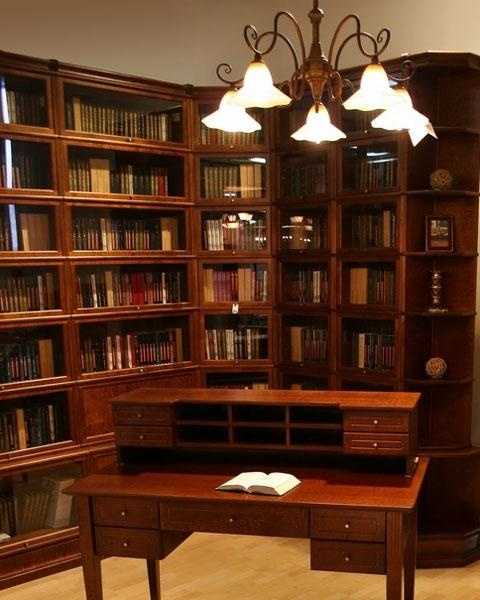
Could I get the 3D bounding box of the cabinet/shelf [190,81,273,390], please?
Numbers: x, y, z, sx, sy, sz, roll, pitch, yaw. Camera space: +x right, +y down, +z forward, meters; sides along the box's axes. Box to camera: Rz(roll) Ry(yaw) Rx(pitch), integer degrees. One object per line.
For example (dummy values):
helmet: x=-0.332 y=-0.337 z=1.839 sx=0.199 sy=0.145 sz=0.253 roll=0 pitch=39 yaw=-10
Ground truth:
cabinet/shelf: x=-0.047 y=-0.273 z=3.800 sx=0.549 sy=2.142 sz=0.303 roll=-1 pitch=-5 yaw=-3

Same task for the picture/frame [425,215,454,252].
picture/frame: x=1.209 y=-0.399 z=3.263 sx=0.242 sy=0.292 sz=0.026 roll=-1 pitch=3 yaw=-6
